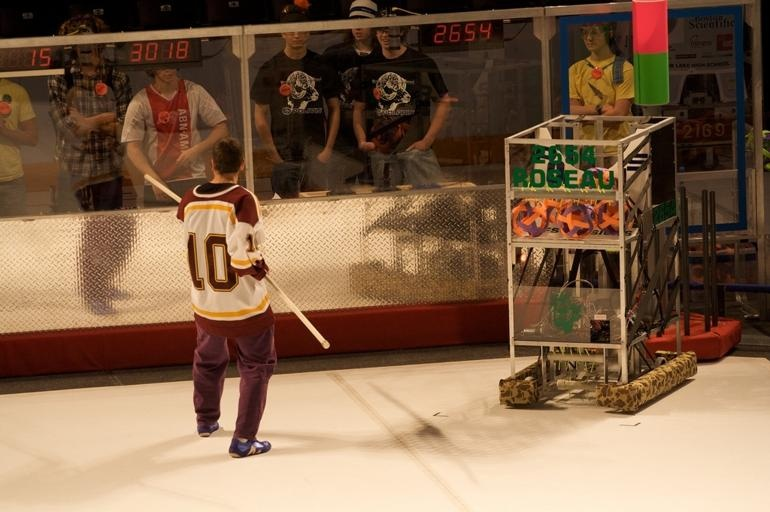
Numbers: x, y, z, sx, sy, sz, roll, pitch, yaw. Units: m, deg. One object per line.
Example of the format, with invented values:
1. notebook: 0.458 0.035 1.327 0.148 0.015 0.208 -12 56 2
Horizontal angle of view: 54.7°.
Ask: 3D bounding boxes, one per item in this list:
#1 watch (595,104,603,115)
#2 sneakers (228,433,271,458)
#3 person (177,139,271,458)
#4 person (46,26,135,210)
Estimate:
1. watch: 2.353 -1.596 8.138 0.083 0.114 0.107 2 11 19
2. sneakers: -1.045 1.469 5.889 0.376 0.147 0.133 -5 10 -38
3. person: -1.219 0.337 5.827 0.597 2.421 0.690 -11 16 -27
4. person: -3.069 -1.316 7.763 0.850 1.693 0.365 -2 14 6
